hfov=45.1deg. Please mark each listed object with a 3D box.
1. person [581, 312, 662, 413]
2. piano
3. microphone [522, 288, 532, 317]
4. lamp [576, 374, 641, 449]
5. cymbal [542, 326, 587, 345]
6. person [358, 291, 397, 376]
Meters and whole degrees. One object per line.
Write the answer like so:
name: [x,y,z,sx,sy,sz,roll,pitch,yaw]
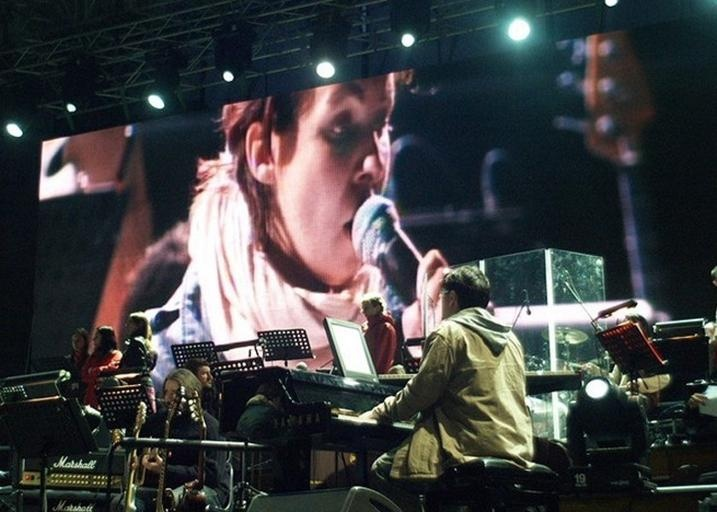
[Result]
person: [2.561,1.276,9.262,0.691,0.835,0.677,-16,-9,-22]
piano: [-0.285,1.441,7.108,0.777,0.966,1.357,-15,-20,40]
microphone: [1.955,0.526,9.986,0.092,0.263,0.094,-10,-23,2]
lamp: [2.236,1.408,7.826,0.602,0.679,0.556,-17,-10,29]
cymbal: [2.413,0.919,9.783,0.295,0.060,0.291,14,-39,-9]
person: [0.227,0.909,9.826,0.363,1.034,0.448,0,-31,-3]
